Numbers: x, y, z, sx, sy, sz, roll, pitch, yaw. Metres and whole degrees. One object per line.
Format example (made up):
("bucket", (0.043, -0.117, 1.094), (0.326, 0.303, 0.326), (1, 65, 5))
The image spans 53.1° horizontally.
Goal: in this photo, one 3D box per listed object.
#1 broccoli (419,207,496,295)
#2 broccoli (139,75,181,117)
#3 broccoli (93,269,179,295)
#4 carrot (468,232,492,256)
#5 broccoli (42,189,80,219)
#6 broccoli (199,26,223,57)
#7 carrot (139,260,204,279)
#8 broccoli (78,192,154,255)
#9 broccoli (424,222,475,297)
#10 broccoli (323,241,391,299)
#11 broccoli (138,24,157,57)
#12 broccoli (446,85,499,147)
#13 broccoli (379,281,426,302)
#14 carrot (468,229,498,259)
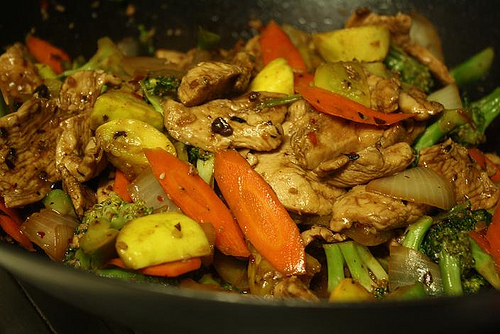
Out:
("broccoli", (1.269, 0.510, 3.017), (0.386, 0.132, 0.478), (3, 75, 2))
("broccoli", (-0.637, -0.525, 3.536), (0.275, 0.083, 0.268), (-23, 84, -9))
("broccoli", (-0.714, 0.667, 2.923), (0.496, 0.446, 0.132), (6, 89, -19))
("carrot", (1.462, 0.475, 3.144), (0.151, 0.039, 0.092), (45, 35, 20))
("broccoli", (-1.289, 0.269, 3.340), (0.304, 0.098, 0.200), (18, 13, -27))
("broccoli", (-0.334, -1.046, 4.221), (0.203, 0.244, 0.097), (-26, 51, 1))
("carrot", (-0.460, 0.622, 2.944), (0.352, 0.148, 0.055), (-11, 51, -6))
("broccoli", (-0.822, 0.377, 3.023), (0.308, 0.107, 0.396), (11, 36, 23))
("broccoli", (1.243, 0.565, 3.097), (0.310, 0.195, 0.418), (-11, 76, 32))
("broccoli", (0.689, 0.645, 3.186), (0.335, 0.100, 0.364), (-13, 79, -11))
("broccoli", (-0.911, -1.102, 4.364), (0.162, 0.202, 0.230), (-9, 51, -3))
("broccoli", (1.707, -0.374, 3.813), (0.478, 0.263, 0.298), (-41, 105, -7))
("broccoli", (0.859, 0.760, 3.009), (0.362, 0.324, 0.091), (-17, 68, 42))
("carrot", (1.464, 0.472, 3.159), (0.172, 0.044, 0.136), (45, 38, 19))
